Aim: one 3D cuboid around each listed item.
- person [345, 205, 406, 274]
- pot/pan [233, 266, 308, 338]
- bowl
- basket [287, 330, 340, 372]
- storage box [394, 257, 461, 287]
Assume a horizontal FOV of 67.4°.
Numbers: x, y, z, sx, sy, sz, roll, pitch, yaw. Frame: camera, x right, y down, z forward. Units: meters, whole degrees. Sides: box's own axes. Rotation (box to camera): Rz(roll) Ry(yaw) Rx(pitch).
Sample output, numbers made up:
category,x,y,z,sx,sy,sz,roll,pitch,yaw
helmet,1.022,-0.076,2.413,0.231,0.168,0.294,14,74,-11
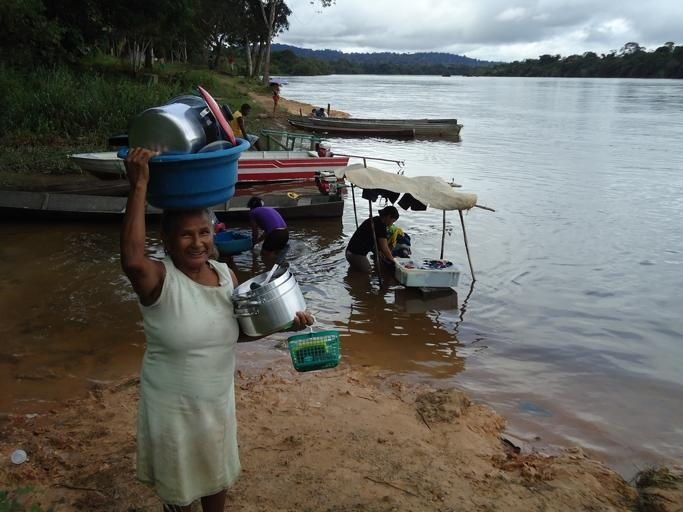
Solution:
category,x,y,z,sx,sy,sz,roll,pitch,yaw
person,0.653,-0.332,10.812,1.123,1.401,0.879,-4,17,-5
pot/pan,-0.514,0.337,3.754,0.540,0.291,0.520,-19,11,-5
bowl,-1.065,-0.543,3.572,0.827,0.284,0.694,-3,16,-6
basket,-0.196,0.742,4.158,0.495,0.261,0.405,-3,-24,0
storage box,1.649,0.349,9.936,0.890,0.227,0.749,1,7,-11
